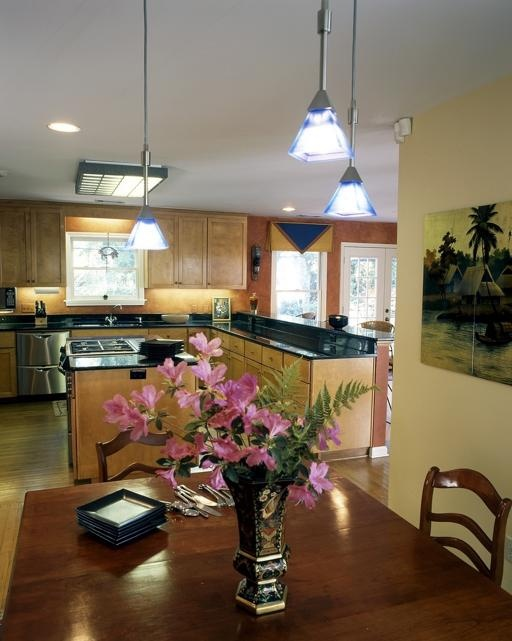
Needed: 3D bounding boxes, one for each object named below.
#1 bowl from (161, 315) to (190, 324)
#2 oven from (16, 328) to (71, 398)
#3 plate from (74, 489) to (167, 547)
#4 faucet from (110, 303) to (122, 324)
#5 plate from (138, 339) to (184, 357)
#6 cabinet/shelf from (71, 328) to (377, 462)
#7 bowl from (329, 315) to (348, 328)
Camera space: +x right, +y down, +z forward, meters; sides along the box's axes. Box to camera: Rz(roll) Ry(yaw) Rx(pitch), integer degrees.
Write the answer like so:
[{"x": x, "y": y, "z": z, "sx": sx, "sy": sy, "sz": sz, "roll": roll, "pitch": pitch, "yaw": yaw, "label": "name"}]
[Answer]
[{"x": -1.086, "y": -0.025, "z": 6.888, "sx": 0.320, "sy": 0.115, "sz": 0.443, "roll": 2, "pitch": 6, "yaw": -1, "label": "bowl"}, {"x": -2.771, "y": 0.542, "z": 6.206, "sx": 0.798, "sy": 0.866, "sz": 0.801, "roll": 5, "pitch": -10, "yaw": -42, "label": "oven"}, {"x": -0.379, "y": 0.567, "z": 1.470, "sx": 0.131, "sy": 0.042, "sz": 0.140, "roll": 14, "pitch": 12, "yaw": 42, "label": "plate"}, {"x": -1.872, "y": -0.091, "z": 6.730, "sx": 0.120, "sy": 0.234, "sz": 0.254, "roll": 3, "pitch": 6, "yaw": 8, "label": "faucet"}, {"x": -0.729, "y": 0.208, "z": 3.873, "sx": 0.229, "sy": 0.079, "sz": 0.174, "roll": 3, "pitch": 4, "yaw": -2, "label": "plate"}, {"x": -0.400, "y": 0.448, "z": 4.129, "sx": 1.750, "sy": 0.745, "sz": 1.666, "roll": -2, "pitch": 7, "yaw": -20, "label": "cabinet/shelf"}, {"x": 0.756, "y": 0.013, "z": 4.671, "sx": 0.132, "sy": 0.083, "sz": 0.135, "roll": 1, "pitch": 5, "yaw": 0, "label": "bowl"}]
